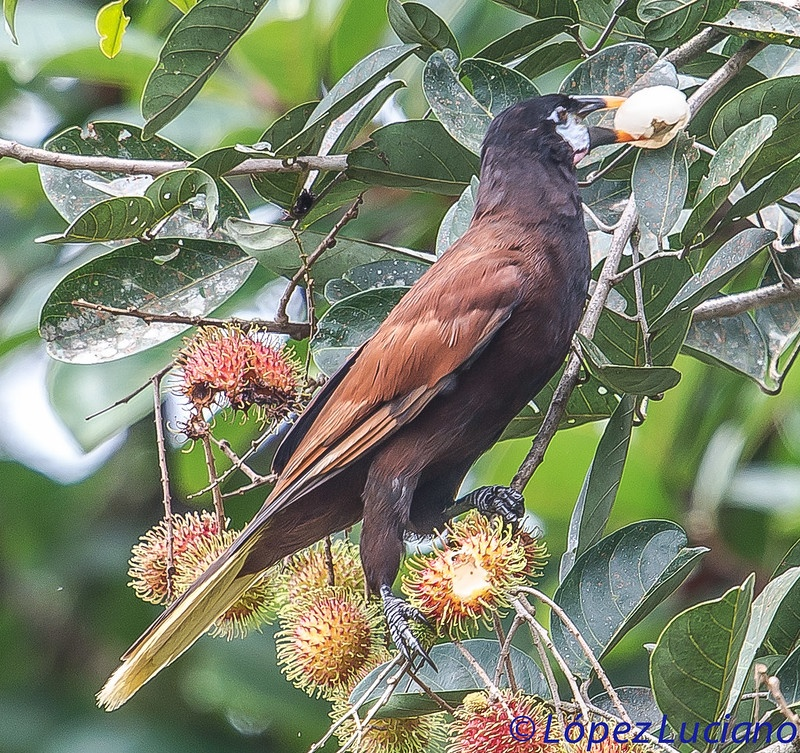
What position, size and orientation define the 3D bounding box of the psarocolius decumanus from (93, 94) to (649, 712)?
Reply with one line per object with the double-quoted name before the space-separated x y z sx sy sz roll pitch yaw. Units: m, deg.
"psarocolius decumanus" -0.046 0.036 2.122 1.057 0.949 0.333 -9 -10 15
